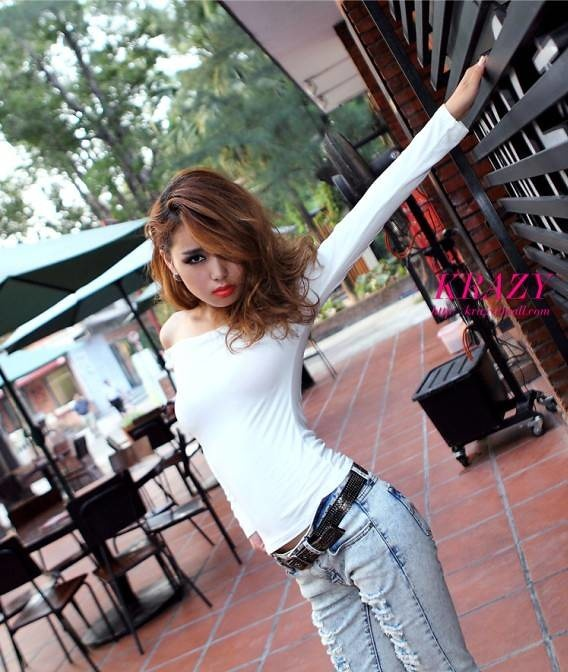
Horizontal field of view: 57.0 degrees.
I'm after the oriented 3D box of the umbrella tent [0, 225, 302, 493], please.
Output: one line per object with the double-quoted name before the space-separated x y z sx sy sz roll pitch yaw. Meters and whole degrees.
"umbrella tent" -1.924 0.112 6.663 2.312 1.386 2.352 -29 9 -22
